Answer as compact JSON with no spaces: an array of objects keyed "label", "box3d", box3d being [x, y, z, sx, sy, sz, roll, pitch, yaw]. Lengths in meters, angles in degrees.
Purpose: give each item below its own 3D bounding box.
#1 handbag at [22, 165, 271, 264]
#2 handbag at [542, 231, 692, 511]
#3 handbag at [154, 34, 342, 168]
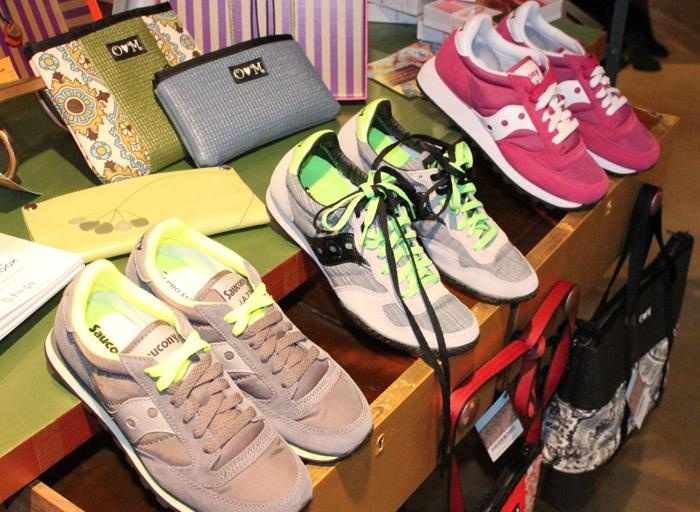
[{"label":"handbag","box3d":[-0.366,-0.085,0.979,0.331,0.060,0.203,-21,63,-25]},{"label":"handbag","box3d":[0.610,0.281,1.266,0.137,0.463,0.487,23,57,26]},{"label":"handbag","box3d":[-0.212,-0.331,1.131,0.352,0.097,0.242,-25,86,-28]}]
